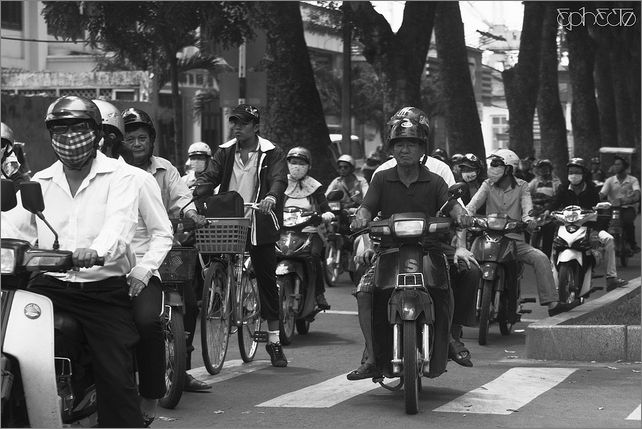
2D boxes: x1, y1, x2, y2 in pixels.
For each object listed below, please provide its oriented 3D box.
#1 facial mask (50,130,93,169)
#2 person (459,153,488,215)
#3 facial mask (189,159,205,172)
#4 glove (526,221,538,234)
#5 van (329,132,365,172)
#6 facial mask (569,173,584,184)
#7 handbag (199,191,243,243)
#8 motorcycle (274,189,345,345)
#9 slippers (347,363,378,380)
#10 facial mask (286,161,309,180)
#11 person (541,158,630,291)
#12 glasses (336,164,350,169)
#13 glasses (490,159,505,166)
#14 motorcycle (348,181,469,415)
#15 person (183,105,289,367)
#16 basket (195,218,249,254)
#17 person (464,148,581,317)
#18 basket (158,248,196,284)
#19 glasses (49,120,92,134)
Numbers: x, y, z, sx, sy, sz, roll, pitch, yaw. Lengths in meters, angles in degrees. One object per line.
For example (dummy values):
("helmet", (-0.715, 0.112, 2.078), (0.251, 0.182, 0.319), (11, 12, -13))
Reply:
("facial mask", (-1.912, -0.495, 7.806), (0.292, 0.253, 0.299), (-2, -2, -3))
("person", (1.972, -0.374, 13.057), (0.414, 1.032, 1.017), (2, 1, 9))
("facial mask", (-1.894, -0.749, 15.698), (0.200, 0.257, 0.253), (-2, -7, 1))
("glove", (2.696, 0.157, 12.905), (0.123, 0.163, 0.060), (0, 2, 15))
("van", (1.007, -2.358, 37.309), (1.446, 1.292, 2.318), (0, 8, 8))
("facial mask", (4.216, -0.588, 16.664), (0.169, 0.122, 0.171), (2, -2, 29))
("handbag", (-1.021, 0.015, 10.719), (0.498, 0.450, 0.287), (-10, 9, 26))
("motorcycle", (0.065, 0.739, 12.879), (0.699, 1.019, 1.626), (-2, -6, 12))
("slippers", (0.422, 1.538, 9.902), (0.335, 0.126, 0.136), (0, -4, -10))
("facial mask", (-0.327, -0.642, 14.067), (0.242, 0.242, 0.273), (2, -28, 1))
("person", (4.317, -0.015, 16.282), (1.029, 2.408, 1.158), (0, 1, 11))
("glasses", (0.412, -0.884, 18.436), (0.226, 0.086, 0.165), (2, 6, 23))
("glasses", (2.328, -0.671, 13.285), (0.124, 0.062, 0.089), (7, 1, -12))
("motorcycle", (1.108, 0.829, 10.234), (0.804, 1.548, 1.945), (-3, -5, 7))
("person", (-0.907, 0.258, 11.425), (1.094, 2.880, 1.053), (0, 1, 6))
("basket", (-1.007, 0.219, 10.366), (0.488, 0.284, 0.338), (0, -3, 5))
("person", (2.675, 0.188, 13.379), (1.030, 2.316, 1.282), (0, 1, 6))
("basket", (-1.342, 0.470, 9.577), (0.448, 0.315, 0.299), (1, 3, 1))
("glasses", (-1.920, -0.680, 7.811), (0.333, 0.100, 0.088), (-2, 6, -15))
